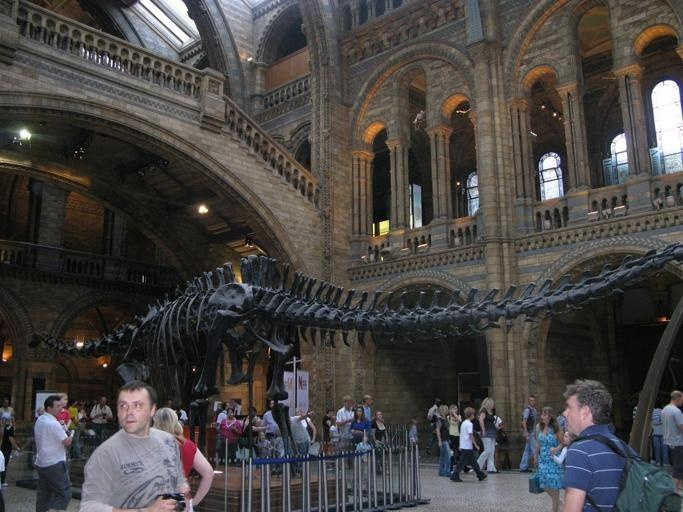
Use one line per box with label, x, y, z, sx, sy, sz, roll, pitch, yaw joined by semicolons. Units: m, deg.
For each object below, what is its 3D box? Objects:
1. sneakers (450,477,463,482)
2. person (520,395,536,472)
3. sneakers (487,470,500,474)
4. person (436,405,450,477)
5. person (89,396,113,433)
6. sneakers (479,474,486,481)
sneakers;2.185;4.292;14.190;0.258;0.110;0.084;-2;2;3
person;4.011;3.777;15.647;0.441;1.570;0.474;2;-3;27
sneakers;3.173;4.532;15.515;0.266;0.103;0.087;1;-7;-21
person;2.083;3.800;15.196;0.248;1.401;0.793;-4;-14;7
person;-5.988;4.194;18.502;0.515;1.253;0.374;10;15;-6
sneakers;2.714;4.300;14.378;0.117;0.132;0.141;14;-23;-31
